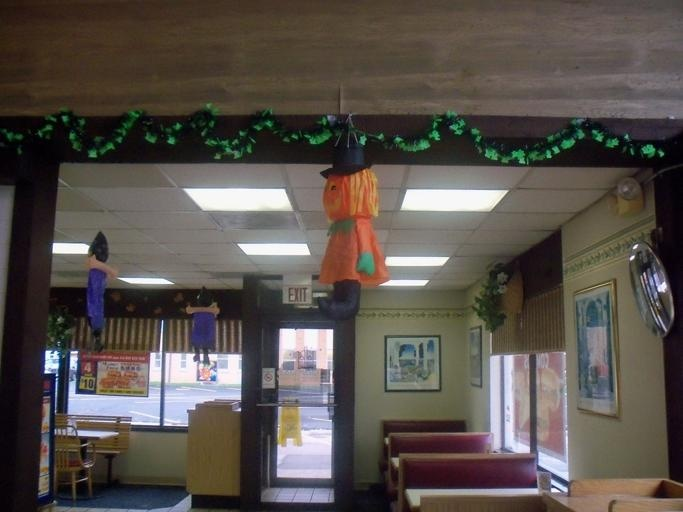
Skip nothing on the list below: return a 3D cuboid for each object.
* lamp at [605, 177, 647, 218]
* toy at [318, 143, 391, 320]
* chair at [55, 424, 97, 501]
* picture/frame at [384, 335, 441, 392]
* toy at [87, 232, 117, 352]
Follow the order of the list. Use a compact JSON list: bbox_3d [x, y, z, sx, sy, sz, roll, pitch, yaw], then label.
[{"bbox_3d":[2.371,-0.458,5.210,0.217,0.323,0.189,4,-26,15],"label":"lamp"},{"bbox_3d":[0.082,-0.166,3.921,0.423,1.108,0.313,1,-12,-1],"label":"toy"},{"bbox_3d":[-4.267,3.271,10.051,0.627,1.122,0.665,-2,-10,2],"label":"chair"},{"bbox_3d":[1.263,1.926,11.127,0.890,0.886,0.061,-1,-11,3],"label":"picture/frame"},{"bbox_3d":[-2.042,0.249,5.342,0.213,1.074,0.716,6,-13,-22],"label":"toy"}]
